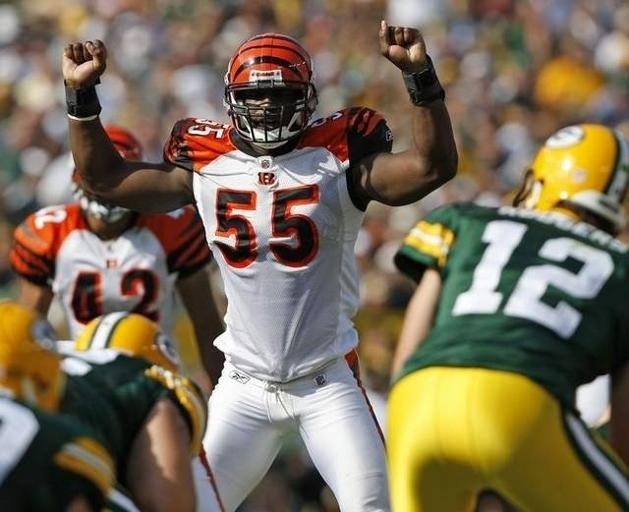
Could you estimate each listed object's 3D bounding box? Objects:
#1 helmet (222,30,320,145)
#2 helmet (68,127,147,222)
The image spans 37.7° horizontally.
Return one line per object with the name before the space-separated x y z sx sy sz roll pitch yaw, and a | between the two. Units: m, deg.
helmet | -0.109 -0.576 3.202 0.296 0.356 0.387 -2 14 4
helmet | -0.810 -0.302 3.602 0.245 0.322 0.319 -29 6 -6
